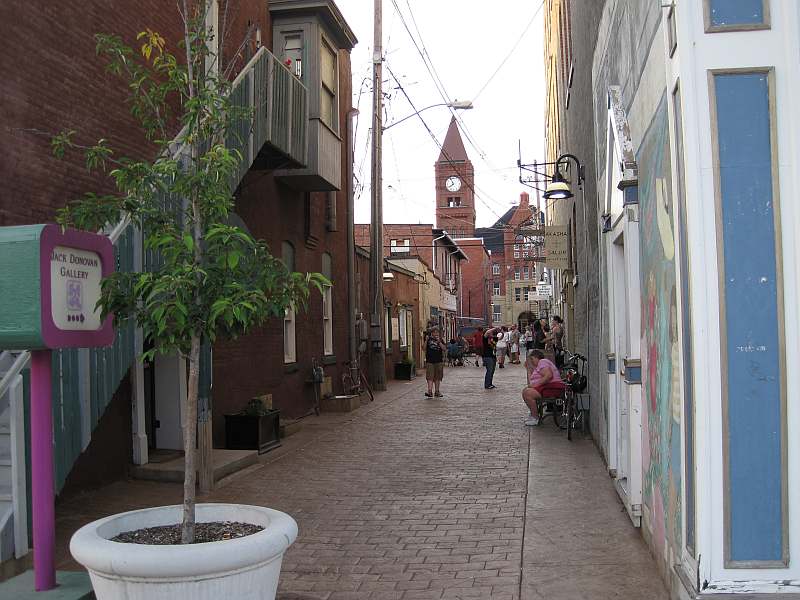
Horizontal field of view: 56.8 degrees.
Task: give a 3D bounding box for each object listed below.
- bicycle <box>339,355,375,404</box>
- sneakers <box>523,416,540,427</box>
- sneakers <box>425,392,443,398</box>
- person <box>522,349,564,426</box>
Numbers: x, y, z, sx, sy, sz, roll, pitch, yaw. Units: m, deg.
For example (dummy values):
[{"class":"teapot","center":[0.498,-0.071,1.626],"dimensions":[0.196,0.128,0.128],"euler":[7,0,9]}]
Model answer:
[{"class":"bicycle","center":[-1.230,2.085,19.523],"dimensions":[0.676,0.941,1.770],"euler":[0,-1,-5]},{"class":"sneakers","center":[2.446,2.278,13.903],"dimensions":[0.246,0.145,0.126],"euler":[2,0,6]},{"class":"sneakers","center":[0.912,2.544,19.845],"dimensions":[0.425,0.236,0.174],"euler":[1,3,-9]},{"class":"person","center":[2.699,1.638,13.940],"dimensions":[0.733,1.413,1.489],"euler":[0,-1,11]}]
